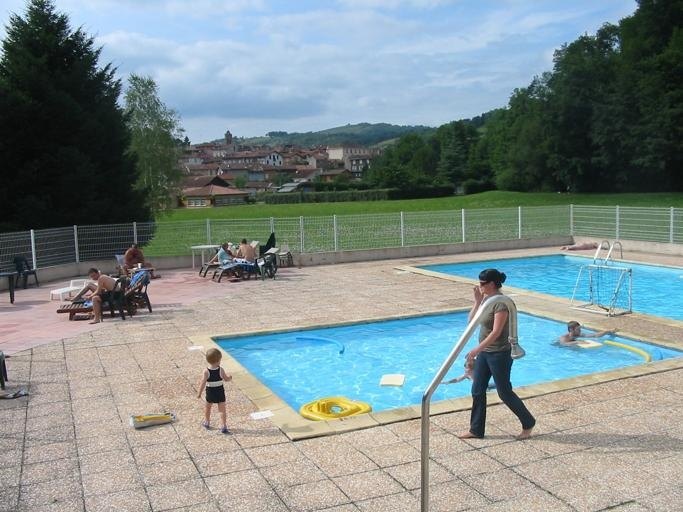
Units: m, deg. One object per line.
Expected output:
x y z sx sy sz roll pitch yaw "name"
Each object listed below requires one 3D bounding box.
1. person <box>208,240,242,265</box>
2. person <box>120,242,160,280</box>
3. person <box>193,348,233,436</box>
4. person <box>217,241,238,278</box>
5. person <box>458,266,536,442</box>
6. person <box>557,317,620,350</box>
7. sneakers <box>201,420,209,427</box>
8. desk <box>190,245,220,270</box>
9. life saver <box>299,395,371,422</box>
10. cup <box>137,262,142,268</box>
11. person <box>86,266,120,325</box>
-4.437 -0.094 19.822 1.182 0.533 0.907 1 6 32 "person"
-7.182 0.209 18.983 1.287 1.103 0.837 5 10 13 "person"
-1.772 1.808 7.556 0.467 1.271 1.140 -5 12 -16 "person"
-4.262 0.229 19.854 0.734 1.309 1.574 -4 12 -13 "person"
2.075 1.276 6.701 1.122 2.036 0.768 1 -8 17 "person"
5.344 1.719 11.723 1.118 0.463 0.545 -2 11 -7 "person"
-1.879 2.333 7.403 0.066 0.069 0.165 1 8 -21 "sneakers"
-5.658 -0.074 22.390 1.324 1.065 1.222 -4 13 -24 "desk"
-0.117 2.332 8.127 1.000 0.131 0.744 -8 13 -34 "life saver"
-7.034 0.357 18.720 0.189 0.171 0.516 -5 12 -21 "cup"
-5.877 0.984 13.235 0.747 1.274 0.765 -6 13 -21 "person"
